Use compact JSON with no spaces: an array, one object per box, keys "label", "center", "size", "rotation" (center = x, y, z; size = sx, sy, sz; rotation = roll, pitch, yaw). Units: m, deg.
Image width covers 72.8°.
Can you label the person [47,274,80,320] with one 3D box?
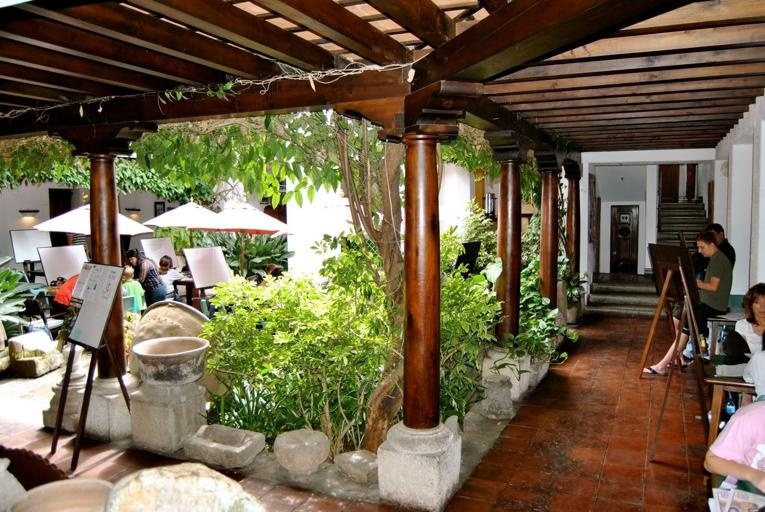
[{"label":"person","center":[-4.632,0.570,7.586],"size":[0.726,0.805,0.250],"rotation":[-3,-14,41]}]

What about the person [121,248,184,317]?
[{"label":"person","center":[-3.837,0.431,8.693],"size":[0.731,1.480,0.522],"rotation":[-1,36,-4]}]

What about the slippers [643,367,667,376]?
[{"label":"slippers","center":[3.397,1.468,6.550],"size":[0.292,0.070,0.106],"rotation":[2,-1,8]}]

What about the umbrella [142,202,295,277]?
[{"label":"umbrella","center":[-3.091,-0.310,9.975],"size":[1.927,1.427,2.894],"rotation":[-5,9,-36]}]

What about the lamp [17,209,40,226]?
[{"label":"lamp","center":[-10.524,-1.118,15.676],"size":[0.432,0.568,0.626],"rotation":[-3,-2,39]}]

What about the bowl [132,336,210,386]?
[{"label":"bowl","center":[-1.931,0.969,4.805],"size":[0.558,0.222,0.536],"rotation":[0,2,0]}]

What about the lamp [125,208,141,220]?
[{"label":"lamp","center":[-7.990,-1.385,16.928],"size":[0.406,0.450,0.414],"rotation":[5,6,32]}]
